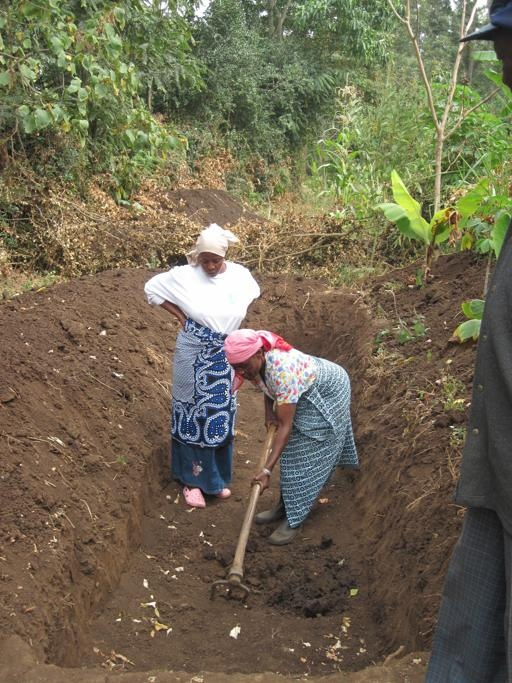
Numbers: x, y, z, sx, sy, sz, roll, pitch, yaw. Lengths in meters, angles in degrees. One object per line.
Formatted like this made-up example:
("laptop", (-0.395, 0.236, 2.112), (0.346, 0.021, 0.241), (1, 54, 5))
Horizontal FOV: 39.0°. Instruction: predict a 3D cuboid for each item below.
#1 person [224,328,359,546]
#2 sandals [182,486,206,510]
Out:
("person", (0.173, 0.516, 4.136), (0.439, 1.294, 0.935), (20, 22, 37))
("sandals", (-0.394, 0.981, 4.542), (0.099, 0.050, 0.146), (-9, 33, -38))
